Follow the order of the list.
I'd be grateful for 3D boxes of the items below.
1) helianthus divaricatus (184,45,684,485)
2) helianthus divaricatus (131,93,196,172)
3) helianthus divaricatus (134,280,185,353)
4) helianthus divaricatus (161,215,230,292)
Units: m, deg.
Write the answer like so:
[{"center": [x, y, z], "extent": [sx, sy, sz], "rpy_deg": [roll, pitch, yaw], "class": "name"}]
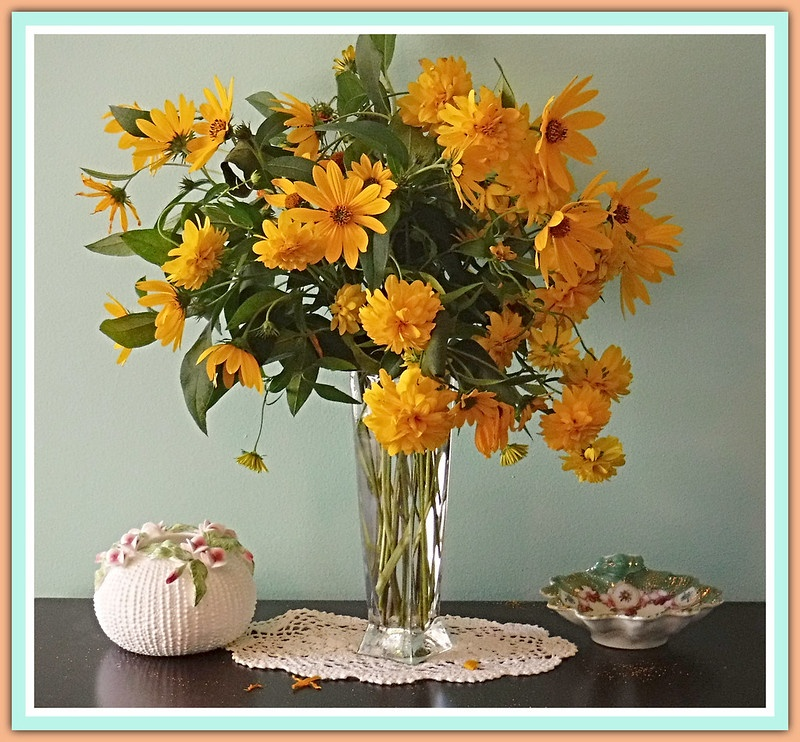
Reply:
[{"center": [0.031, -0.141, 0.963], "extent": [0.541, 0.517, 0.377], "rpy_deg": [3, 9, 17], "class": "helianthus divaricatus"}, {"center": [-0.267, -0.265, 0.961], "extent": [0.066, 0.082, 0.107], "rpy_deg": [-2, 9, -16], "class": "helianthus divaricatus"}, {"center": [-0.252, -0.060, 0.899], "extent": [0.051, 0.070, 0.061], "rpy_deg": [3, 9, 17], "class": "helianthus divaricatus"}, {"center": [-0.213, -0.121, 0.891], "extent": [0.041, 0.070, 0.070], "rpy_deg": [5, 10, 28], "class": "helianthus divaricatus"}]
